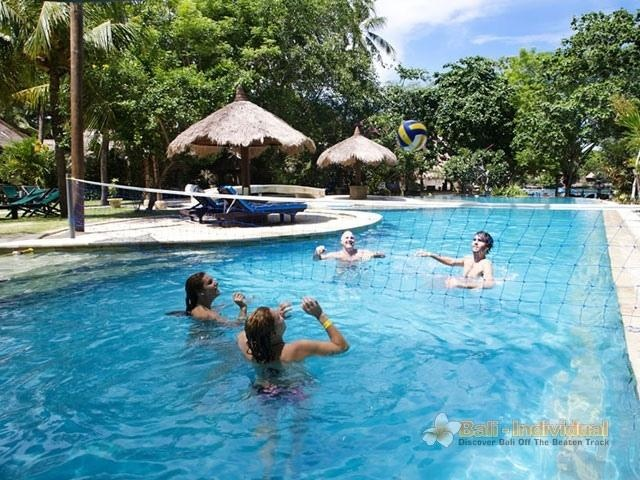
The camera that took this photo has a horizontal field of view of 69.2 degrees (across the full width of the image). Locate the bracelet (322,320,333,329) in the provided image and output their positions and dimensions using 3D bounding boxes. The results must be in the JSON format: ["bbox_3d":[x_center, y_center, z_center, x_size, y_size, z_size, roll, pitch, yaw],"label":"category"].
[{"bbox_3d":[0.079,0.896,4.933,0.099,0.073,0.099,-3,-2,6],"label":"bracelet"}]

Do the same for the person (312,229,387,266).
[{"bbox_3d":[0.608,0.163,9.389,1.450,0.615,0.514,0,-9,-8],"label":"person"}]

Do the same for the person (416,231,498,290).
[{"bbox_3d":[2.746,0.433,9.339,0.870,1.210,0.670,11,-25,-25],"label":"person"}]

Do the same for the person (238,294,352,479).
[{"bbox_3d":[-0.311,1.080,4.967,1.076,1.003,0.626,0,14,-3],"label":"person"}]

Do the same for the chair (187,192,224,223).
[{"bbox_3d":[-3.415,-0.941,13.978,0.984,0.576,0.959,-7,12,-39],"label":"chair"}]

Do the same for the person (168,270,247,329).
[{"bbox_3d":[-1.520,0.803,6.209,0.881,0.594,0.629,-15,21,-23],"label":"person"}]

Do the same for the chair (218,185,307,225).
[{"bbox_3d":[-1.734,-1.021,14.154,2.410,0.905,1.295,-4,9,-27],"label":"chair"}]
